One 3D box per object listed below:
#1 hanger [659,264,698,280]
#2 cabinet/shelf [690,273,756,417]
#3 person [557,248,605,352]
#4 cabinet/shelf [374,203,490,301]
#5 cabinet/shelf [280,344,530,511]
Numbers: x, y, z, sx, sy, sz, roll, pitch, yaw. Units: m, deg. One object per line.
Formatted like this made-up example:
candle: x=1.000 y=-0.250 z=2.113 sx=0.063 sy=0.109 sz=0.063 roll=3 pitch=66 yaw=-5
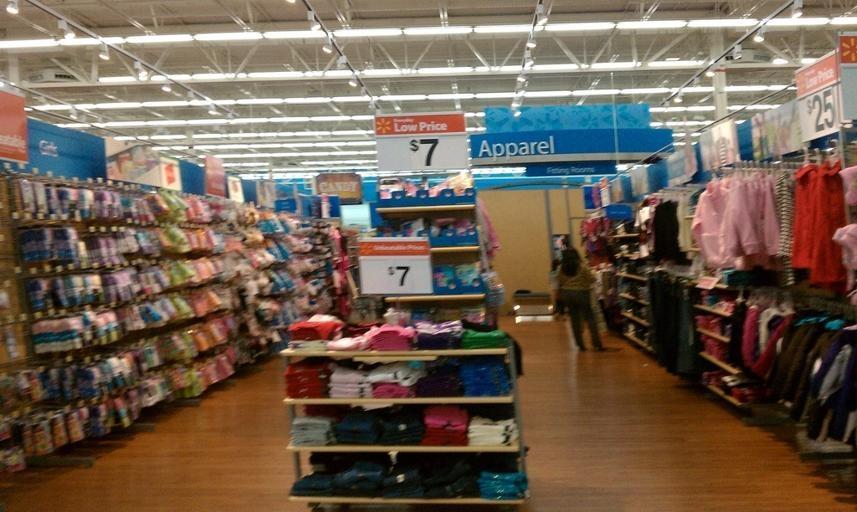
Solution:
hanger: x=3.874 y=0.235 z=9.358 sx=0.310 sy=0.210 sz=0.808 roll=-5 pitch=4 yaw=-15
cabinet/shelf: x=4.163 y=1.245 z=8.510 sx=0.542 sy=1.741 sz=1.269 roll=-6 pitch=5 yaw=4
person: x=2.833 y=0.809 z=11.387 sx=0.738 sy=1.959 sz=0.425 roll=-6 pitch=5 yaw=8
cabinet/shelf: x=0.066 y=-0.098 z=7.985 sx=1.278 sy=1.177 sz=0.838 roll=-4 pitch=5 yaw=7
cabinet/shelf: x=-0.201 y=2.093 z=8.061 sx=4.695 sy=1.643 sz=2.305 roll=-1 pitch=-12 yaw=3
